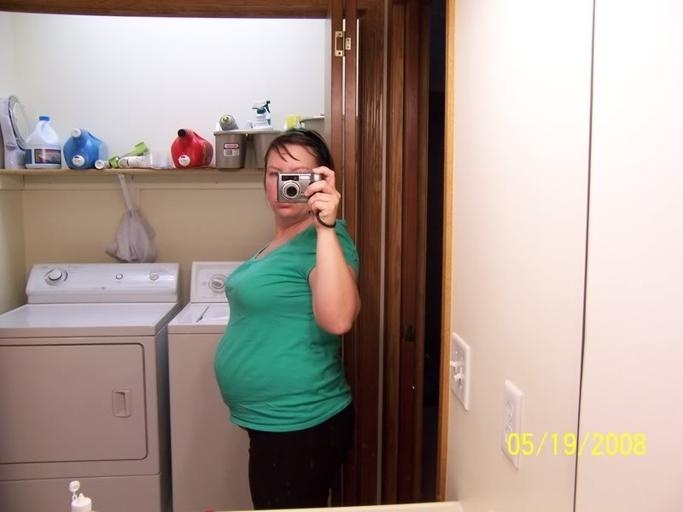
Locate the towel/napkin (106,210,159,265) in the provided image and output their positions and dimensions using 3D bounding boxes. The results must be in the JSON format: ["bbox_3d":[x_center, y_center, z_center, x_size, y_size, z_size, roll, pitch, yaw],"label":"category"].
[{"bbox_3d":[-1.052,-0.123,2.779,0.214,0.278,0.166,5,26,-12],"label":"towel/napkin"}]

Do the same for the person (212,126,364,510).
[{"bbox_3d":[-0.170,0.182,1.628,0.466,1.092,0.350,-2,8,8],"label":"person"}]

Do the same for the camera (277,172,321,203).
[{"bbox_3d":[-0.124,-0.184,1.466,0.122,0.091,0.071,-1,7,0],"label":"camera"}]

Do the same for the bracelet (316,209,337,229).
[{"bbox_3d":[-0.046,-0.098,1.405,0.041,0.044,0.010,11,35,25],"label":"bracelet"}]

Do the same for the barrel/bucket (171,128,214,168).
[{"bbox_3d":[-0.686,-0.513,2.609,0.123,0.166,0.225,3,21,3],"label":"barrel/bucket"}]
